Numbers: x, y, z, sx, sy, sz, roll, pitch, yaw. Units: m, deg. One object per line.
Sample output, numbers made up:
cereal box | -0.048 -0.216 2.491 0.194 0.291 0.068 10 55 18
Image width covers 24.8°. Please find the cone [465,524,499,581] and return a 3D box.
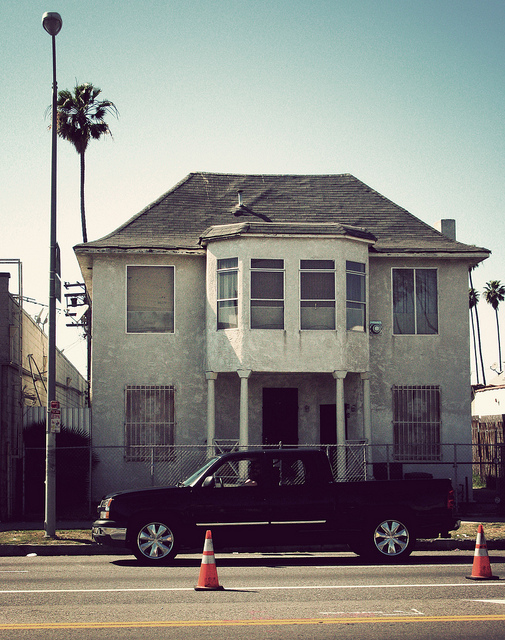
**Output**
cone | 2.868 2.973 14.538 0.311 0.802 0.343 -1 -6 14

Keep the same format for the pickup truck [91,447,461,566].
pickup truck | 0.532 2.947 17.375 4.548 2.029 2.350 3 -13 -7
